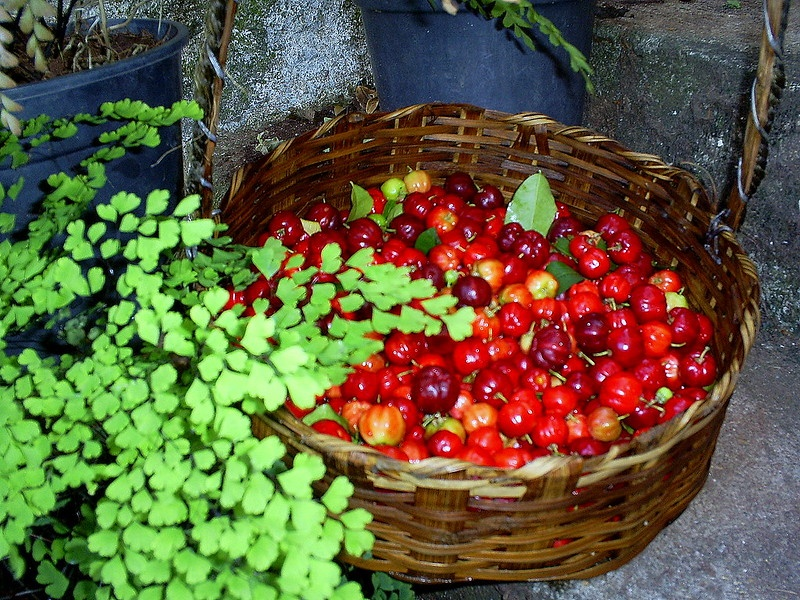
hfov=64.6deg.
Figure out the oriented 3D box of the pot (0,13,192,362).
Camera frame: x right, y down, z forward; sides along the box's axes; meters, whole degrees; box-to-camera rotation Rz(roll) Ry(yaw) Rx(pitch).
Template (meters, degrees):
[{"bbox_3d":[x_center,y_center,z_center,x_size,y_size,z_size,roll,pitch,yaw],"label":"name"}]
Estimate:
[{"bbox_3d":[-0.590,-0.335,1.690,0.644,0.547,0.724,3,34,-9],"label":"pot"}]
